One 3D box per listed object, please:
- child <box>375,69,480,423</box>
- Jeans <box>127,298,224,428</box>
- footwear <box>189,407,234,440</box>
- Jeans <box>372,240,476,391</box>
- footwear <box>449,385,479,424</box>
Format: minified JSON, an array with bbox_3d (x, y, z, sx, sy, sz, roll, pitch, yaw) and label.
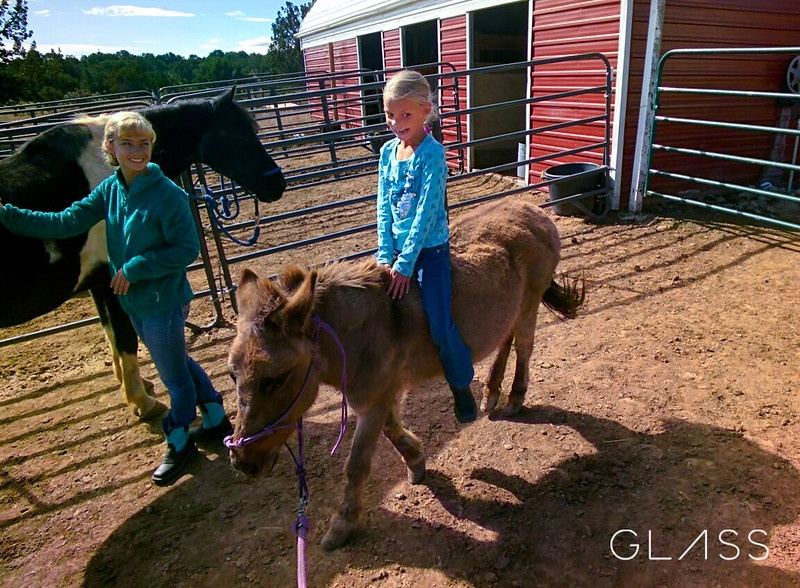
[{"bbox_3d":[0.119,-0.293,3.899,0.557,2.299,0.860,-7,24,-2],"label":"child"},{"bbox_3d":[-1.885,0.621,4.696,0.528,0.986,0.248,-27,8,23],"label":"Jeans"},{"bbox_3d":[-1.534,1.051,4.576,0.369,0.323,0.151,-4,35,-5],"label":"footwear"},{"bbox_3d":[0.171,0.109,3.957,0.270,1.154,0.560,-10,9,23],"label":"Jeans"},{"bbox_3d":[0.443,0.781,3.945,0.112,0.334,0.136,-17,10,7],"label":"footwear"}]
